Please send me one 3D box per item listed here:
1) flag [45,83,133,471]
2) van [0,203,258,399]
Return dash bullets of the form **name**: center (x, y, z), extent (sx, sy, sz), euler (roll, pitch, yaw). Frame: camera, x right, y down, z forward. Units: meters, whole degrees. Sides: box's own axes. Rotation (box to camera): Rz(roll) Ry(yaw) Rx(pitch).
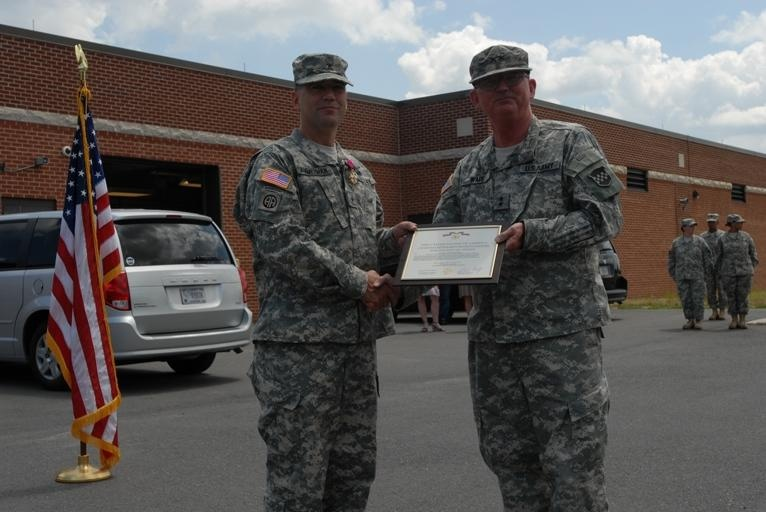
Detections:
- **flag**: center (-2.702, 0.195, 5.719), extent (0.623, 3.025, 0.718), euler (-4, 2, -28)
- **van**: center (-4.530, 0.500, 9.918), extent (4.353, 1.788, 2.190), euler (3, 1, 35)
